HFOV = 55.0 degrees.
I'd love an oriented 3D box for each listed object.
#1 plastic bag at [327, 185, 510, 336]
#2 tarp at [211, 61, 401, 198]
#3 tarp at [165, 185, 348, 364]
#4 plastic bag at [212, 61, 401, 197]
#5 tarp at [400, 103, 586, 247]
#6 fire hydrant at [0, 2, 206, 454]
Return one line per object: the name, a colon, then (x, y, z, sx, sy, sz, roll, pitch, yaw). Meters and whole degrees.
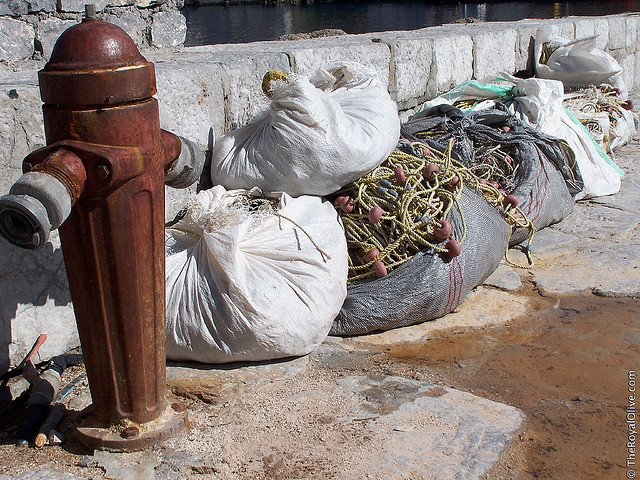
plastic bag: (0.485, 0.083, 2.793, 1.014, 0.527, 0.351, -15, 21, -42)
tarp: (-0.057, -0.548, 2.972, 0.689, 0.793, 0.808, 4, 23, 2)
tarp: (-0.212, 0.116, 2.773, 1.060, 0.618, 1.136, -2, 21, -5)
plastic bag: (-0.012, -0.541, 2.908, 0.888, 0.600, 0.599, -12, 19, -33)
tarp: (1.052, -0.537, 3.745, 1.167, 0.862, 0.943, 13, 28, 28)
fire hydrant: (-0.659, 0.004, 1.818, 0.479, 1.365, 0.292, -9, 18, -24)
